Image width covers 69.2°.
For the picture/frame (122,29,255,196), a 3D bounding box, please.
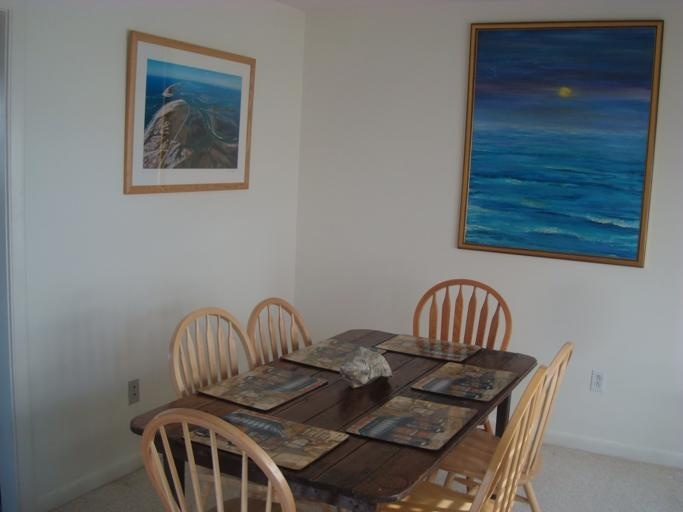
[{"bbox_3d":[-0.875,-0.820,2.986,0.044,0.853,1.047,16,18,23],"label":"picture/frame"}]
